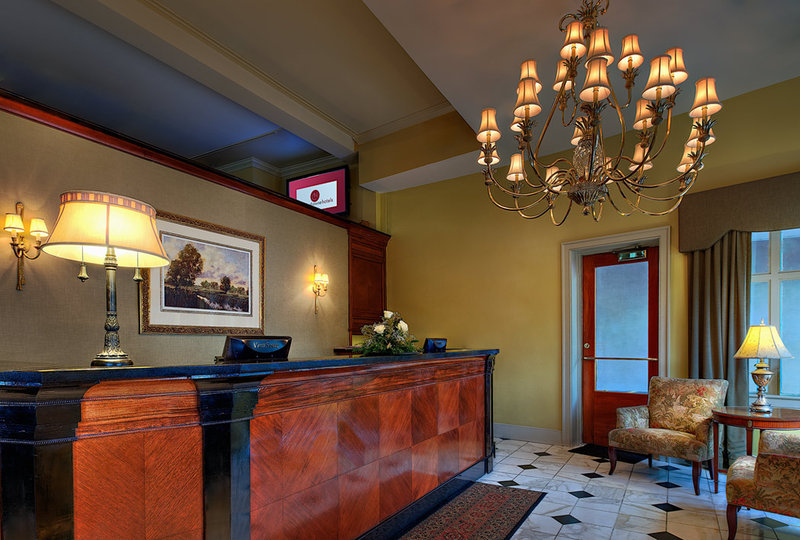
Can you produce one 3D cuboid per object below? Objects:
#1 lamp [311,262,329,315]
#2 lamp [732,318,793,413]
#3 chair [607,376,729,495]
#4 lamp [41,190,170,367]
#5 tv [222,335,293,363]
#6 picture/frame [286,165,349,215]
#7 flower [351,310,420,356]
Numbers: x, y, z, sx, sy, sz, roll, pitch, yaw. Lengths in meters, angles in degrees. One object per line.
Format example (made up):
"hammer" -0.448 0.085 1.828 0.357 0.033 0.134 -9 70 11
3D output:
"lamp" -1.231 0.290 8.597 0.137 0.805 0.416 -2 -7 26
"lamp" 4.048 1.071 6.071 0.501 0.986 0.729 -3 -8 32
"chair" 3.123 1.848 6.340 1.153 1.201 1.262 -1 -10 31
"lamp" -2.230 0.069 4.105 0.834 1.284 0.500 5 -7 -29
"tv" -1.131 0.625 4.291 0.500 0.210 0.301 3 -8 -15
"picture/frame" -1.515 -1.354 9.670 1.267 0.827 0.154 -16 28 -37
"flower" -0.146 0.626 5.462 0.626 0.445 0.456 1 -7 -2
